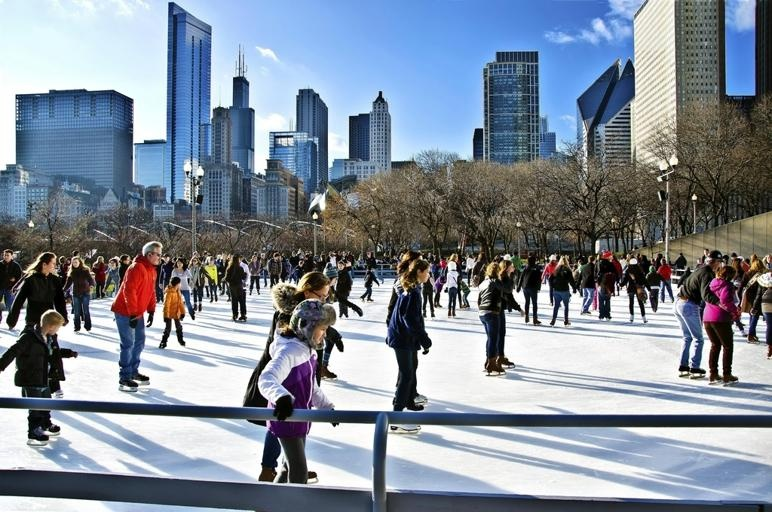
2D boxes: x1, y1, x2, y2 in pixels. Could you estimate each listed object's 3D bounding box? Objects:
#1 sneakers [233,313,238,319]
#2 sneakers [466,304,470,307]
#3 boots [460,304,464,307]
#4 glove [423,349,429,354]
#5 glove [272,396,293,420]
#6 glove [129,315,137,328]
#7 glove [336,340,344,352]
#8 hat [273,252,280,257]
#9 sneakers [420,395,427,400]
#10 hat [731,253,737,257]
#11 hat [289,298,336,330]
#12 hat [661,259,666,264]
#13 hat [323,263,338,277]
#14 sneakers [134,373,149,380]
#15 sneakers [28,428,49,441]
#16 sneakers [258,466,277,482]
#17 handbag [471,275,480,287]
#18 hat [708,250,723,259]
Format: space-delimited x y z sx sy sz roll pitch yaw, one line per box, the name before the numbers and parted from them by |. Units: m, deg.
sneakers | -4.314 1.746 22.539 0.126 0.136 0.159 -1 -8 0
sneakers | 2.851 1.721 27.026 0.134 0.133 0.083 -6 9 -17
boots | 2.623 1.714 26.782 0.092 0.096 0.169 -1 -4 -6
glove | 0.672 1.620 13.144 0.116 0.093 0.219 0 8 6
glove | -1.278 1.904 9.818 0.244 0.301 0.091 2 0 -8
glove | -4.582 1.194 14.288 0.143 0.287 0.199 0 4 -8
glove | -0.722 1.467 12.711 0.155 0.228 0.060 0 -2 30
hat | -6.081 -0.079 43.550 0.266 0.205 0.327 1 -3 -7
sneakers | 0.663 2.503 13.825 0.140 0.062 0.048 -2 1 41
hat | 12.356 -0.043 27.812 0.144 0.127 0.207 -1 28 -11
hat | -0.959 0.789 10.373 0.503 0.408 0.368 -28 0 -4
hat | 10.887 0.201 30.743 0.159 0.158 0.167 -8 -7 -29
hat | -1.468 0.399 20.933 0.488 0.476 0.500 -1 -6 1
sneakers | -4.573 2.272 14.708 0.248 0.106 0.093 4 15 -22
sneakers | -5.436 2.802 12.249 0.307 0.200 0.090 2 0 4
sneakers | -1.614 2.988 10.797 0.248 0.204 0.196 2 0 -15
handbag | 3.206 0.901 28.014 0.262 0.323 0.802 -2 -10 9
hat | 7.153 -0.028 17.024 0.249 0.156 0.178 -14 19 -34
